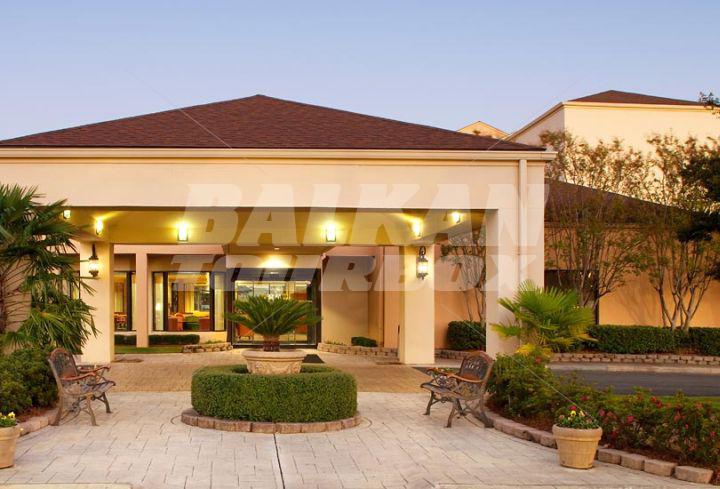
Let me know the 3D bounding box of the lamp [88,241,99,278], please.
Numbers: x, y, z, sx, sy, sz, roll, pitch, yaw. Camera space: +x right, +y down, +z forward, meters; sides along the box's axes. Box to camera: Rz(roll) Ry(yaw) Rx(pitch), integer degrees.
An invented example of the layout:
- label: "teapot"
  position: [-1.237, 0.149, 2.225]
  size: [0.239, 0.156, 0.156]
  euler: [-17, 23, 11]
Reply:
- label: "lamp"
  position: [-7.290, 0.440, 16.778]
  size: [0.307, 0.959, 0.762]
  euler: [1, -3, -23]

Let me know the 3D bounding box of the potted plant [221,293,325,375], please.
- label: "potted plant"
  position: [-1.601, 1.643, 11.305]
  size: [1.578, 1.288, 1.512]
  euler: [1, -6, -5]

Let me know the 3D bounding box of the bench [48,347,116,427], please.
- label: "bench"
  position: [-4.873, 2.444, 10.816]
  size: [0.947, 1.045, 1.576]
  euler: [5, -4, -13]

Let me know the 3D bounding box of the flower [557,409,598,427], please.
- label: "flower"
  position: [3.056, 2.470, 8.563]
  size: [0.358, 0.153, 0.354]
  euler: [0, -4, 24]

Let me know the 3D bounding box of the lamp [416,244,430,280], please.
- label: "lamp"
  position: [1.790, 0.518, 17.416]
  size: [0.364, 0.992, 0.409]
  euler: [-1, -3, 4]

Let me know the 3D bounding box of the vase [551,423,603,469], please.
- label: "vase"
  position: [3.025, 2.864, 8.548]
  size: [0.675, 0.459, 0.659]
  euler: [-8, -22, 35]

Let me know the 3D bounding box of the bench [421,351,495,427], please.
- label: "bench"
  position: [1.721, 2.564, 11.093]
  size: [0.985, 1.090, 1.535]
  euler: [1, -6, -8]
